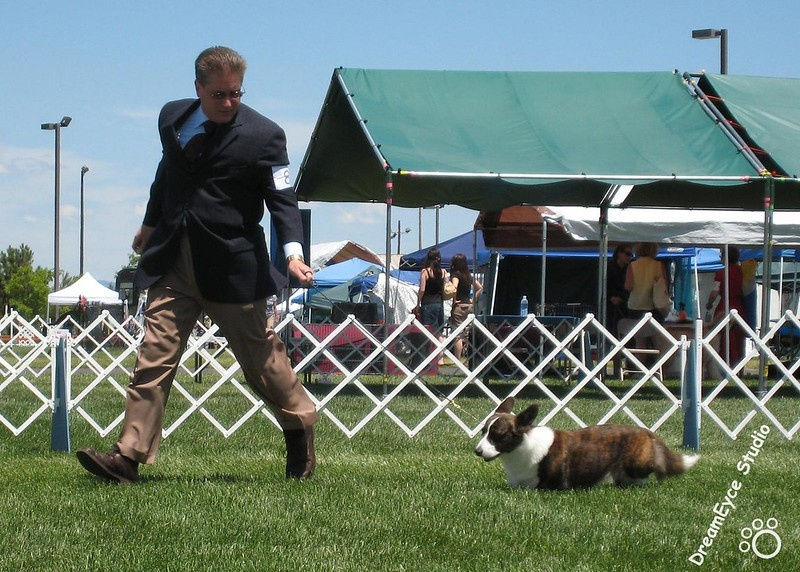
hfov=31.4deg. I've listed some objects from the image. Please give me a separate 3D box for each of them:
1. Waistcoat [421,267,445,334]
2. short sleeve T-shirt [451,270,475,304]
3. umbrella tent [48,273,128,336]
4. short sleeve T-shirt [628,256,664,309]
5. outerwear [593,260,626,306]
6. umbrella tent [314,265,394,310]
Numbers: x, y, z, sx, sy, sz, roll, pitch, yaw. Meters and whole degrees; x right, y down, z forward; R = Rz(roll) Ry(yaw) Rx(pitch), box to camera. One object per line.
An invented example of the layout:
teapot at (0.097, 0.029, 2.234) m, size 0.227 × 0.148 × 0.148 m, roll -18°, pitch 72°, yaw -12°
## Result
Waistcoat at (0.485, 0.279, 19.115) m, size 0.349 × 1.017 × 0.203 m, roll -5°, pitch 17°, yaw -9°
short sleeve T-shirt at (0.839, 0.017, 19.189) m, size 0.378 × 0.443 × 0.219 m, roll 1°, pitch 3°, yaw -22°
umbrella tent at (-8.696, 0.518, 38.055) m, size 1.082 × 1.826 × 1.704 m, roll -1°, pitch -14°, yaw 5°
short sleeve T-shirt at (3.156, 0.000, 18.247) m, size 0.470 × 0.656 × 0.358 m, roll 0°, pitch -1°, yaw -7°
outerwear at (2.838, -0.049, 18.970) m, size 0.447 × 0.361 × 0.491 m, roll 0°, pitch 1°, yaw 2°
umbrella tent at (-1.062, 0.022, 31.838) m, size 1.082 × 0.583 × 1.192 m, roll -3°, pitch 3°, yaw 17°
